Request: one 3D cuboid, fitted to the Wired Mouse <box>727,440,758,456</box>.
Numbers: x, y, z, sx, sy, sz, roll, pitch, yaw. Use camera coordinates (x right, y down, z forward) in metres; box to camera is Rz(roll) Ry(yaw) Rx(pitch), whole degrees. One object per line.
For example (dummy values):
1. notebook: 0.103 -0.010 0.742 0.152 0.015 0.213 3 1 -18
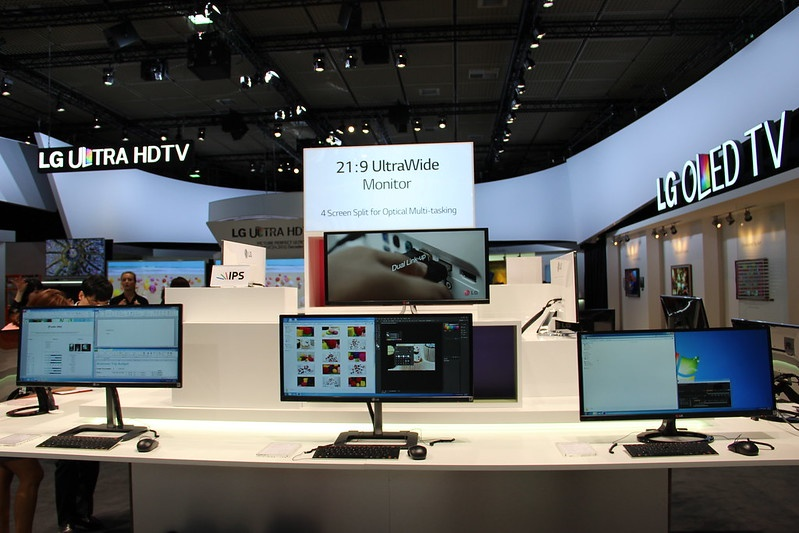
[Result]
1. Wired Mouse: 2.531 1.331 4.326 0.197 0.091 0.148 -4 -6 31
